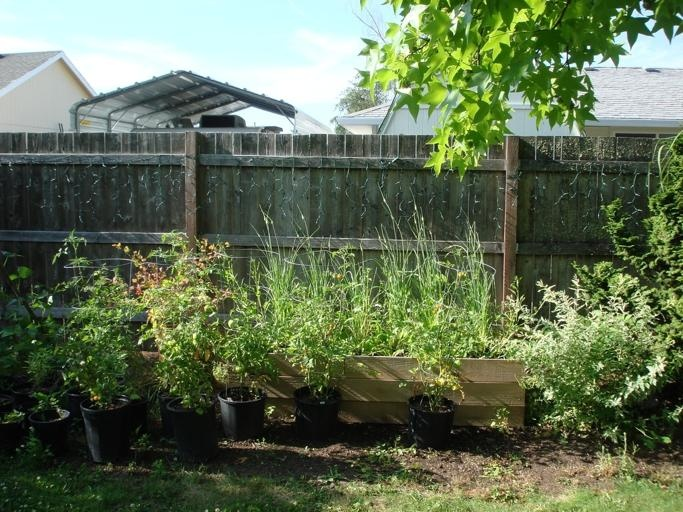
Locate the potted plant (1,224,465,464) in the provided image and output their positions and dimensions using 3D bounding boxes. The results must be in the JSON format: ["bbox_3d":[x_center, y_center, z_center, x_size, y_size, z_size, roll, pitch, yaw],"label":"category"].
[{"bbox_3d":[-0.770,0.671,5.562,3.553,1.759,1.462,0,1,9],"label":"potted plant"}]
